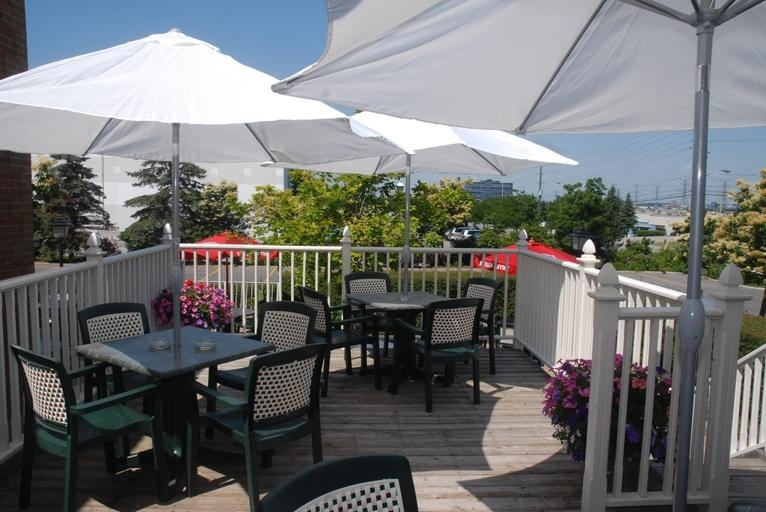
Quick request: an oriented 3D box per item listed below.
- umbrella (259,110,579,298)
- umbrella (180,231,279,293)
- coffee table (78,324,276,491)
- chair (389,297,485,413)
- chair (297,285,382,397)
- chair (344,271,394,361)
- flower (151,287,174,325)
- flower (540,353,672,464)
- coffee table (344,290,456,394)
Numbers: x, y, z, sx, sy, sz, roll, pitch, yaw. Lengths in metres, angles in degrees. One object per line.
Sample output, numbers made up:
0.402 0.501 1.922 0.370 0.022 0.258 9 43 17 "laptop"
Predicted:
0.328 -0.613 9.532 2.769 1.785 2.636 -8 19 -20 "umbrella"
-3.335 0.178 16.142 1.841 1.360 1.798 -4 13 -21 "umbrella"
-1.634 1.077 5.827 1.058 1.054 1.086 6 12 27 "coffee table"
0.520 0.896 7.195 0.856 1.128 0.907 0 9 -3 "chair"
-0.436 0.826 7.326 0.756 1.049 0.801 7 9 40 "chair"
-0.163 0.701 7.995 0.651 0.955 0.698 -5 9 -16 "chair"
-2.339 0.508 7.858 0.316 0.314 0.120 10 20 -23 "flower"
1.681 1.141 5.647 0.913 0.906 0.832 14 -8 -15 "flower"
0.161 0.864 7.571 0.925 0.905 0.937 -1 5 -16 "coffee table"
